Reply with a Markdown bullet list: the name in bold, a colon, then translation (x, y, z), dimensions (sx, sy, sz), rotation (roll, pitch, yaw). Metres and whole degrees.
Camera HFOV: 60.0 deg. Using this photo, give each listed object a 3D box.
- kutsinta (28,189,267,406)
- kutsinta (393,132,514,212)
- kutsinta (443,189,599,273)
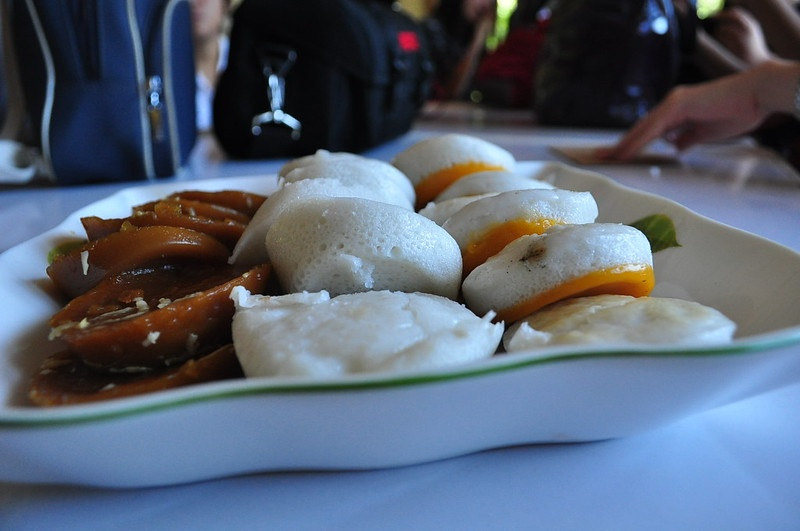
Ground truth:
- **kutsinta**: translation (-0.333, 0.013, 0.898), dimensions (0.285, 0.119, 0.371), rotation (-8, 32, -6)
- **kutsinta**: translation (0.068, -0.147, 1.046), dimensions (0.132, 0.067, 0.132), rotation (0, -3, 12)
- **kutsinta**: translation (0.155, -0.056, 0.866), dimensions (0.131, 0.051, 0.126), rotation (-21, 0, -5)
